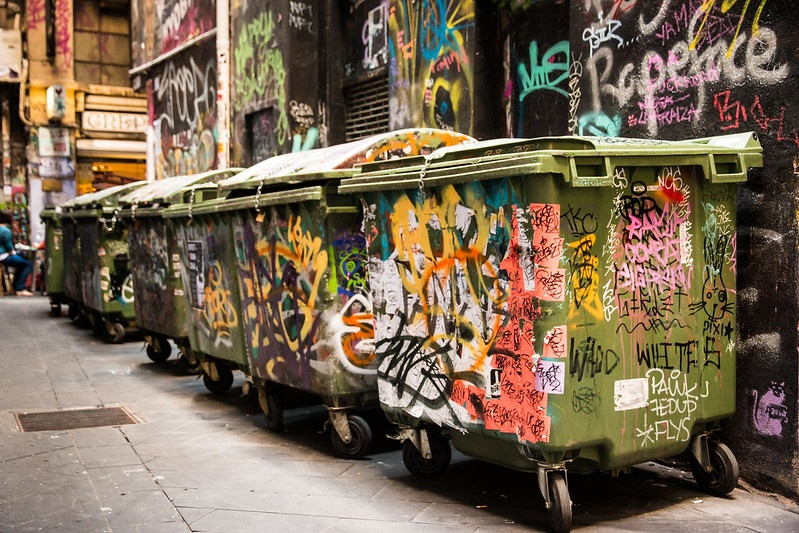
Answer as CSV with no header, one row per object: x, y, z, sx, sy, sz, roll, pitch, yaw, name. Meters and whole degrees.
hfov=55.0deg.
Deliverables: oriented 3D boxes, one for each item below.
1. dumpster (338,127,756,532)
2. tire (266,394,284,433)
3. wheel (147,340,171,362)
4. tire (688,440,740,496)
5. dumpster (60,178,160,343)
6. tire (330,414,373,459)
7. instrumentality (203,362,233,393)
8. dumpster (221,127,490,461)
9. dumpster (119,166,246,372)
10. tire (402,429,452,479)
1.169,0.333,6.527,2.558,2.861,2.976,-3,2,-30,dumpster
-1.220,1.386,7.443,0.103,0.353,0.308,-2,-4,-24,tire
-3.295,1.130,10.482,0.343,0.409,0.220,-1,5,-7,wheel
2.426,1.507,5.896,0.156,0.508,0.410,0,-1,-30,tire
-4.832,-0.097,12.978,1.384,2.329,2.254,-4,7,-42,dumpster
-0.435,1.463,6.748,0.326,0.361,0.119,-4,-2,35,tire
-2.081,1.224,8.760,0.296,0.325,0.117,21,12,20,instrumentality
-0.611,0.213,7.783,2.281,2.679,2.270,3,3,37,dumpster
-2.867,0.079,10.533,1.672,2.380,1.889,-6,6,-33,dumpster
0.224,1.459,6.212,0.396,0.457,0.198,-3,4,8,tire
